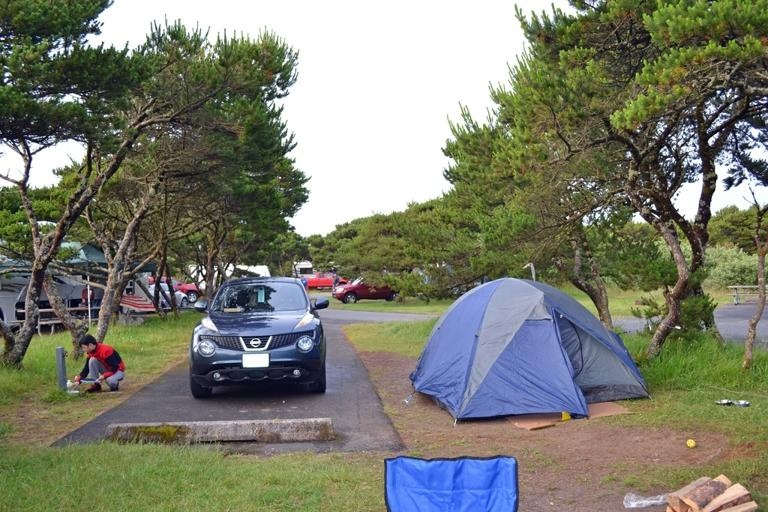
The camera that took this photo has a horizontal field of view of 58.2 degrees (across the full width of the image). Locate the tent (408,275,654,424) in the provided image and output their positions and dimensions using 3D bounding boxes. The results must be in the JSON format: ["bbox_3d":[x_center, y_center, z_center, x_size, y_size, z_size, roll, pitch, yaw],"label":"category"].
[{"bbox_3d":[2.321,2.076,14.406,3.004,1.558,3.241,-1,-1,-17],"label":"tent"}]

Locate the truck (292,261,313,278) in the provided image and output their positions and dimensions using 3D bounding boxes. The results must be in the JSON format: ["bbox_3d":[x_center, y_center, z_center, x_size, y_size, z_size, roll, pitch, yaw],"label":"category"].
[{"bbox_3d":[-11.002,1.657,94.794,2.354,1.584,2.429,-1,4,-11],"label":"truck"}]

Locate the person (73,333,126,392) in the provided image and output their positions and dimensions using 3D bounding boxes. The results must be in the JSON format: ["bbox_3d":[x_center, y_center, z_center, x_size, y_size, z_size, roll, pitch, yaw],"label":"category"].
[{"bbox_3d":[-6.296,2.347,15.176,0.959,1.239,1.097,4,-6,-34],"label":"person"}]
